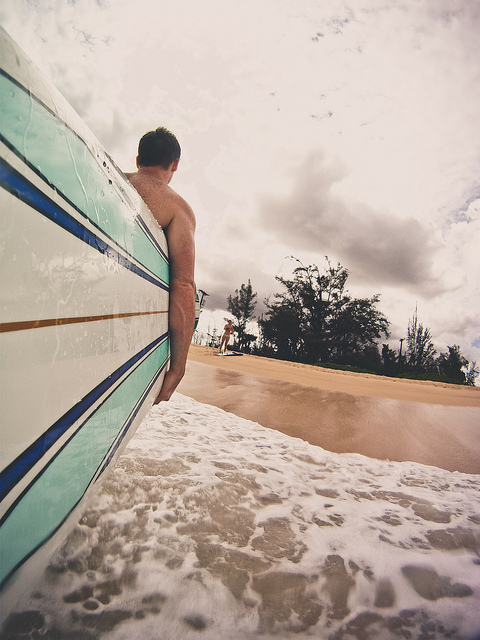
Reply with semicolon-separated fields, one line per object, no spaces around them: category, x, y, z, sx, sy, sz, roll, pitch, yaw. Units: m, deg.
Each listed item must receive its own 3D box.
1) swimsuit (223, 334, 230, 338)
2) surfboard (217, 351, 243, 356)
swimsuit;-0.590;1.338;15.315;0.209;0.134;0.244;6;-3;-18
surfboard;-0.467;1.993;13.998;0.539;0.071;2.417;5;-4;14
